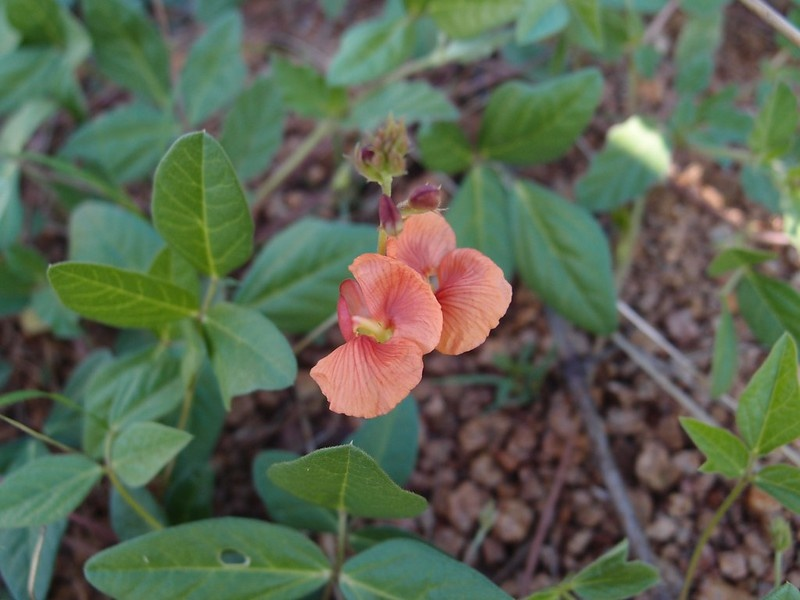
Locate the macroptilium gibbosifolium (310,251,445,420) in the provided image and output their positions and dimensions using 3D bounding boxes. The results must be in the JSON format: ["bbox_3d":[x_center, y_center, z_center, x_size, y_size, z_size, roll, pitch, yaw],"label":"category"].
[{"bbox_3d":[-0.026,0.074,1.511,0.262,0.133,0.358,23,91,14],"label":"macroptilium gibbosifolium"}]
